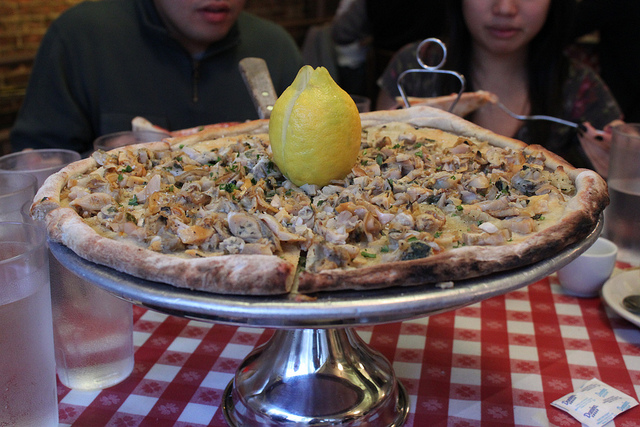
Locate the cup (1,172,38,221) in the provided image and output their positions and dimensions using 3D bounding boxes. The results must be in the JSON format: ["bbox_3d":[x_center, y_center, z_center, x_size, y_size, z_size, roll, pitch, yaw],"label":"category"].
[{"bbox_3d":[-0.927,-0.049,1.478,0.143,0.127,0.124,-10,18,-43],"label":"cup"}]

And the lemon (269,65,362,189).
[{"bbox_3d":[-0.014,-0.271,1.512,0.293,0.356,0.278,9,26,24],"label":"lemon"}]

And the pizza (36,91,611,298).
[{"bbox_3d":[0.011,-0.085,1.517,1.716,0.198,0.960,-5,36,-3],"label":"pizza"}]

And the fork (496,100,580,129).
[{"bbox_3d":[0.958,-0.422,2.124,0.370,0.038,0.031,9,1,0],"label":"fork"}]
